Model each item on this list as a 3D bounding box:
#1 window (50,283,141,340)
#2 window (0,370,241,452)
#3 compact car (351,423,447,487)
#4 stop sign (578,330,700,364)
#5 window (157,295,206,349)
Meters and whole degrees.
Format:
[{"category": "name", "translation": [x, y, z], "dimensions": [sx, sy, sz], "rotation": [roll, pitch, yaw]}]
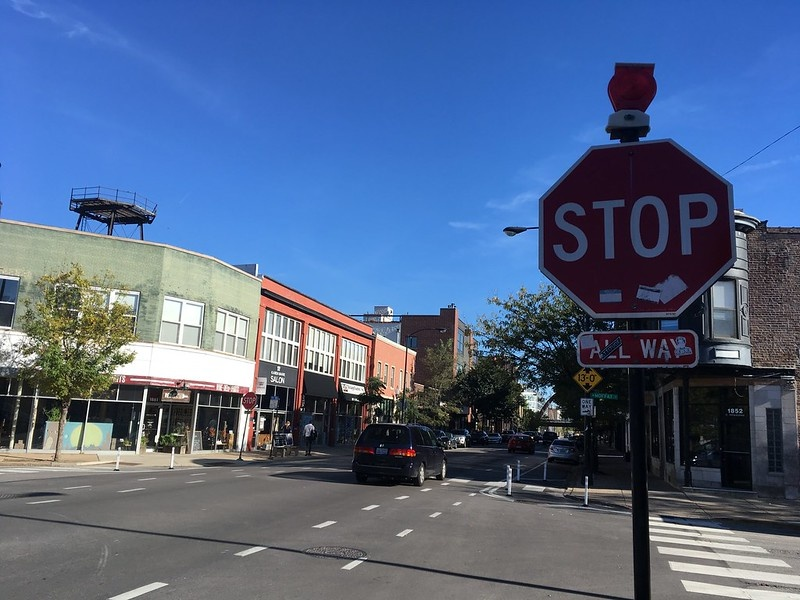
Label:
[{"category": "window", "translation": [-11.993, 1.030, 26.556], "dimensions": [3.518, 1.327, 3.254], "rotation": [3, -14, -21]}, {"category": "window", "translation": [-11.975, 5.193, 29.818], "dimensions": [10.422, 3.141, 1.862], "rotation": [14, -20, -41]}, {"category": "compact car", "translation": [0.101, 5.085, 21.996], "dimensions": [1.700, 2.000, 3.378], "rotation": [-9, -17, 30]}, {"category": "stop sign", "translation": [2.305, 0.482, 6.568], "dimensions": [1.107, 0.413, 0.184], "rotation": [-3, -14, 10]}, {"category": "window", "translation": [-10.211, 1.061, 31.132], "dimensions": [0.155, 2.181, 2.188], "rotation": [-5, -10, 34]}]
